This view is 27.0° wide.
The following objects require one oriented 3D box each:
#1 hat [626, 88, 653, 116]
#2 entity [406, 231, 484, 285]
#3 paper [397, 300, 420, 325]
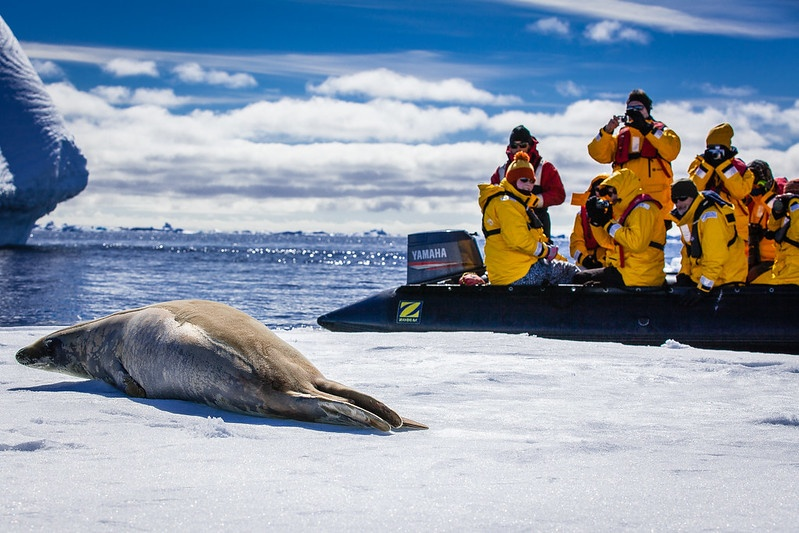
[{"bbox_3d":[10.261,-6.977,71.083,0.976,1.162,0.671,-1,4,2],"label":"hat"},{"bbox_3d":[1.778,-0.325,69.748,3.554,1.988,0.920,-2,-2,-8],"label":"entity"},{"bbox_3d":[0.398,2.001,70.884,1.509,0.976,0.127,7,-9,10],"label":"paper"}]
